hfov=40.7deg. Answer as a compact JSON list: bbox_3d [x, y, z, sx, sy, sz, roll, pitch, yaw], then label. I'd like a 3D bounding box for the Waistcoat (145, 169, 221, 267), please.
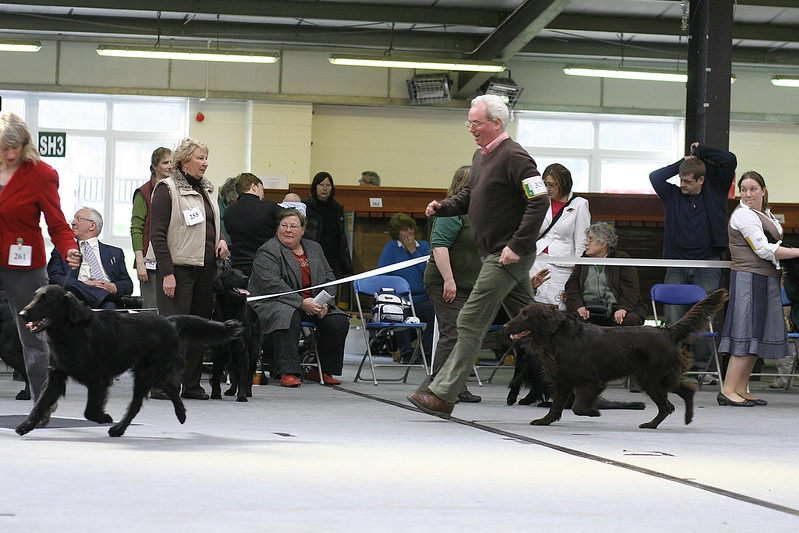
[{"bbox_3d":[-1.888,-0.417,9.367,0.398,0.812,0.203,0,7,-12],"label":"Waistcoat"}]

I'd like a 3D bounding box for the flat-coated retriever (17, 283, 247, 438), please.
[{"bbox_3d":[-1.937,0.722,7.849,0.481,0.987,1.994,0,-1,40],"label":"flat-coated retriever"}]

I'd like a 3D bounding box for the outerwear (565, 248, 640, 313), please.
[{"bbox_3d":[2.030,0.145,11.078,0.774,0.625,0.490,2,-8,-7],"label":"outerwear"}]

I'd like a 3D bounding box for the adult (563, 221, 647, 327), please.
[{"bbox_3d":[2.247,0.108,11.206,1.077,1.215,1.071,-1,-1,22],"label":"adult"}]

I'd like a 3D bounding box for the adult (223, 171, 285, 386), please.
[{"bbox_3d":[-1.715,0.071,11.522,0.896,2.192,0.788,-2,5,-24],"label":"adult"}]

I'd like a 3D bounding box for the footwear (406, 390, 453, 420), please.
[{"bbox_3d":[0.237,1.075,8.519,0.427,0.174,0.164,21,2,-7],"label":"footwear"}]

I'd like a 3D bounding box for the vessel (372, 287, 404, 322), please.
[{"bbox_3d":[-0.107,0.428,11.548,0.318,0.357,0.390,4,-11,-11],"label":"vessel"}]

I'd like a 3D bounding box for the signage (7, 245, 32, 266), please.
[{"bbox_3d":[-2.847,-0.082,8.009,0.192,0.158,0.037,2,-6,-17],"label":"signage"}]

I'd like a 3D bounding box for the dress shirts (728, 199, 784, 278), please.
[{"bbox_3d":[3.454,-0.272,10.109,0.585,0.641,0.720,-2,2,42],"label":"dress shirts"}]

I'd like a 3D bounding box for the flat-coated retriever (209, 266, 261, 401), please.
[{"bbox_3d":[-1.501,0.667,9.908,0.545,1.074,1.798,-3,-7,-5],"label":"flat-coated retriever"}]

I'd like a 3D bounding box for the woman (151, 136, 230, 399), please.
[{"bbox_3d":[-1.836,-0.007,9.576,0.814,2.200,0.863,-1,0,28],"label":"woman"}]

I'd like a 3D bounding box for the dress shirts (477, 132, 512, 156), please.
[{"bbox_3d":[0.756,-0.976,8.591,0.239,0.086,0.188,-31,4,-3],"label":"dress shirts"}]

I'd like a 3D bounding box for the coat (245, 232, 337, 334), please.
[{"bbox_3d":[-1.062,0.185,10.626,0.770,0.929,0.586,-5,9,-44],"label":"coat"}]

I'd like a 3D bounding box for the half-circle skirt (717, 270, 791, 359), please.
[{"bbox_3d":[3.338,0.420,10.183,0.855,0.819,0.677,5,0,-34],"label":"half-circle skirt"}]

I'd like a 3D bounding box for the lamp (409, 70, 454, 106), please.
[{"bbox_3d":[0.534,-3.267,19.464,0.718,0.239,0.627,0,-10,-3],"label":"lamp"}]

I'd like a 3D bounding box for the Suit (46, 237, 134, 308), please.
[{"bbox_3d":[-3.015,0.119,10.718,0.835,0.628,1.474,-4,16,-27],"label":"Suit"}]

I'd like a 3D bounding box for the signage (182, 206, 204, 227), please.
[{"bbox_3d":[-1.803,-0.430,9.332,0.212,0.169,0.062,-4,-22,-27],"label":"signage"}]

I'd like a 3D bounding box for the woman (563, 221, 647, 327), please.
[{"bbox_3d":[2.208,0.103,11.181,1.077,1.215,1.071,-1,-1,22],"label":"woman"}]
